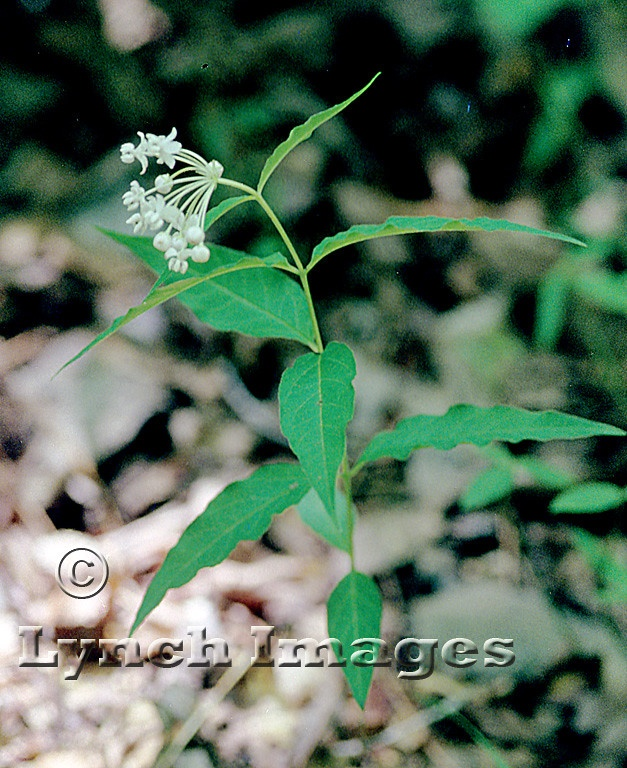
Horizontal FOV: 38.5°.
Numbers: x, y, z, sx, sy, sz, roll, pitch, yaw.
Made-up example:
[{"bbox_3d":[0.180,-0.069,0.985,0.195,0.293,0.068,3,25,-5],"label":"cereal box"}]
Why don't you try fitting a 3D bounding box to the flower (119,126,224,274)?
[{"bbox_3d":[-0.280,-0.366,1.955,0.200,0.375,0.308,-14,82,-2],"label":"flower"}]
